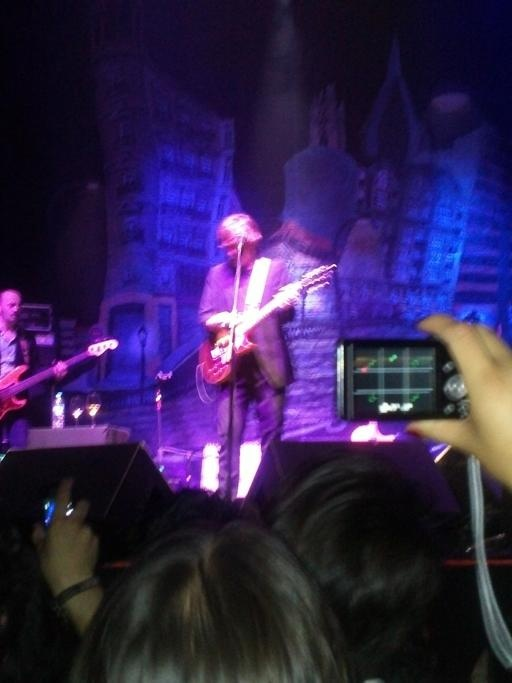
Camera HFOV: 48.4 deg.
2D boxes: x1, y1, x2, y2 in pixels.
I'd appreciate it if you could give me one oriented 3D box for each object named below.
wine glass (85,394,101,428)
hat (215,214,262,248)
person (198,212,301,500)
[{"bbox_3d":[-1.321,0.539,4.591,0.071,0.096,0.353,-1,47,-2],"label":"wine glass"},{"bbox_3d":[-0.066,-0.452,2.271,0.113,0.159,0.162,13,25,40],"label":"hat"},{"bbox_3d":[-0.072,-0.227,2.809,0.325,0.135,1.141,9,46,-7],"label":"person"}]
